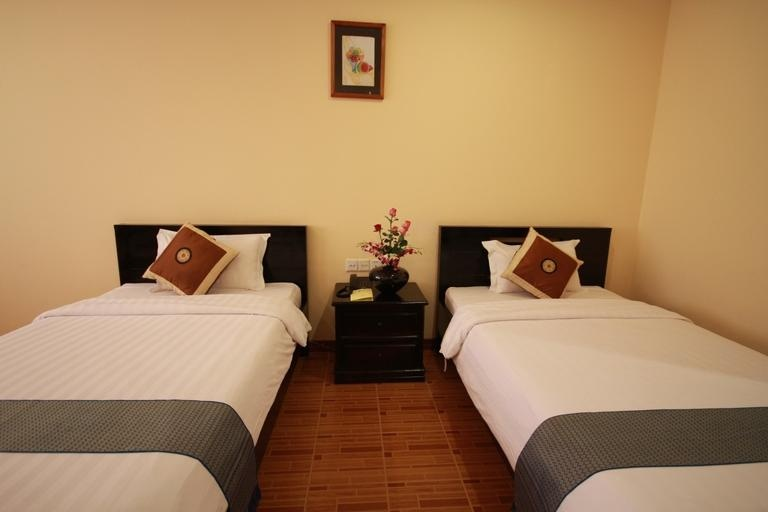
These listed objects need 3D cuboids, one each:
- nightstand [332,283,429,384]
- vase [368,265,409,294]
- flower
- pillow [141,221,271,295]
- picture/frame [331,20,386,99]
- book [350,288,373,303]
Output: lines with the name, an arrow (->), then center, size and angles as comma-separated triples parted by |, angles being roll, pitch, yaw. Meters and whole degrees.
nightstand -> -0.053, 0.570, 4.310 | 0.876, 0.687, 0.670 | -1, 8, -3
vase -> 0.027, 0.178, 4.083 | 0.266, 0.175, 0.247 | 3, 16, 10
flower -> 0.063, -0.126, 4.280 | 0.543, 0.535, 0.498 | 8, 23, 18
pillow -> -1.366, 0.049, 3.999 | 0.868, 0.595, 0.254 | 3, -13, -5
picture/frame -> -0.222, -1.644, 4.124 | 0.645, 0.751, 0.057 | 0, 10, -8
book -> -0.178, 0.313, 4.009 | 0.117, 0.027, 0.113 | -4, 29, 1
